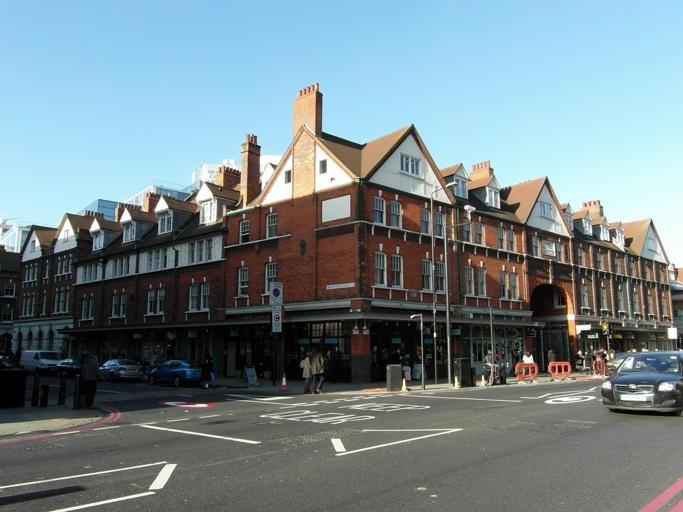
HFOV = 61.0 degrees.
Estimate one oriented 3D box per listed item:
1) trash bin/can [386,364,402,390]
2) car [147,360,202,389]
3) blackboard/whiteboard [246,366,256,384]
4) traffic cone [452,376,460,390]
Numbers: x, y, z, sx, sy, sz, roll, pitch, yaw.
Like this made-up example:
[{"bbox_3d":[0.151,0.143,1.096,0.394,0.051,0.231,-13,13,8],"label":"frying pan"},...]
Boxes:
[{"bbox_3d":[2.524,5.893,27.984,0.394,0.783,1.257,-4,1,14],"label":"trash bin/can"},{"bbox_3d":[-9.419,6.831,33.009,3.461,1.281,1.606,-8,-16,38],"label":"car"},{"bbox_3d":[-5.051,6.671,32.208,0.528,0.985,0.935,0,-15,-12],"label":"blackboard/whiteboard"},{"bbox_3d":[5.877,6.480,29.733,0.368,0.623,1.209,-6,-15,10],"label":"traffic cone"}]
